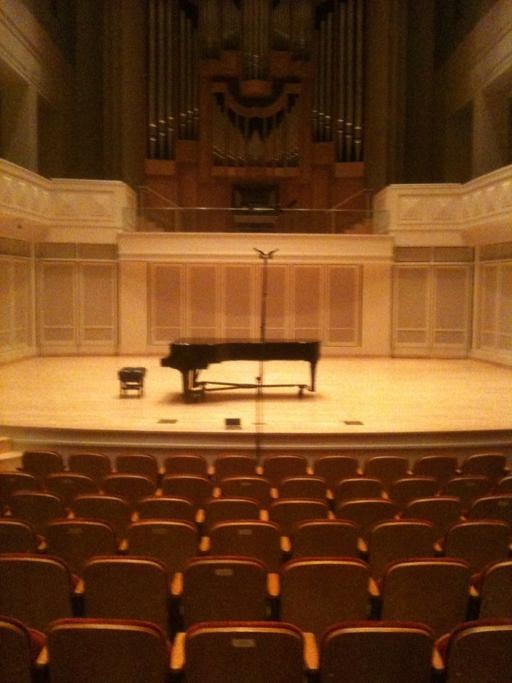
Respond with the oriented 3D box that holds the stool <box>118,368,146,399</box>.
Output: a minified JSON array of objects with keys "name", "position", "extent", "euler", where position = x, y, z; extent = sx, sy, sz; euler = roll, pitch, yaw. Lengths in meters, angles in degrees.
[{"name":"stool","position":[-1.612,0.532,8.054],"extent":[0.315,0.341,0.472],"euler":[-1,-3,-1]}]

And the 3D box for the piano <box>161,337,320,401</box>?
[{"name":"piano","position":[-0.130,0.448,7.918],"extent":[1.816,0.731,0.940],"euler":[0,5,-4]}]
